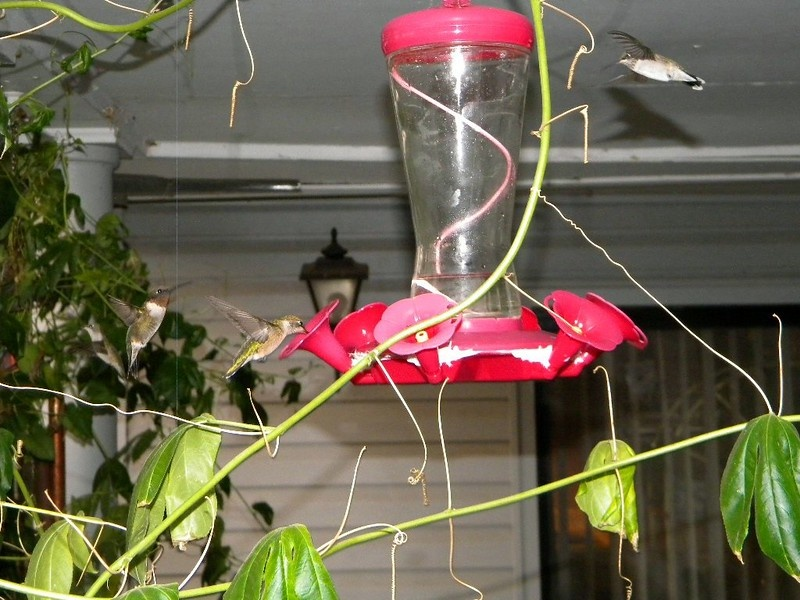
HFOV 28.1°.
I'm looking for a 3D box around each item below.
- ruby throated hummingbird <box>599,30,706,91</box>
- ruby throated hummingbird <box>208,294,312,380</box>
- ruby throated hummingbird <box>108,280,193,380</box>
[{"bbox_3d":[0.653,-0.586,3.965,0.224,0.141,0.238,3,4,30],"label":"ruby throated hummingbird"},{"bbox_3d":[-0.343,0.088,3.945,0.222,0.189,0.136,-7,3,-12],"label":"ruby throated hummingbird"},{"bbox_3d":[-0.645,0.075,4.060,0.122,0.254,0.135,2,0,-41],"label":"ruby throated hummingbird"}]
